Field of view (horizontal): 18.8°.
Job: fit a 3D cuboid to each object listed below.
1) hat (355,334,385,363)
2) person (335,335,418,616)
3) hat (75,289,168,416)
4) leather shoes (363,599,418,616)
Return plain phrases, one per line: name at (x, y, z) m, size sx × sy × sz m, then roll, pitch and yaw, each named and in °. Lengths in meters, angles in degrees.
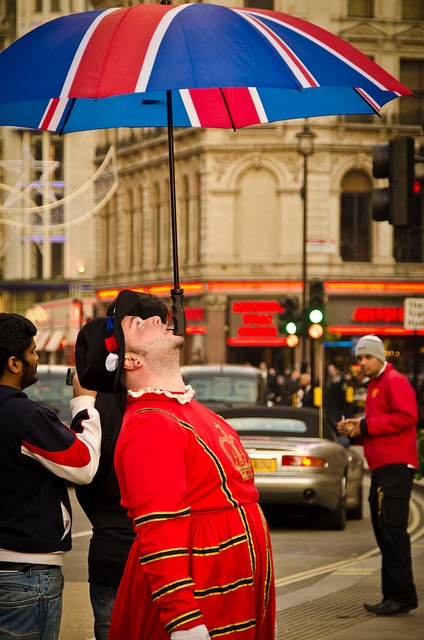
hat at (0.969, 0.162, 7.763) m, size 0.144 × 0.170 × 0.173 m, roll -3°, pitch -24°, yaw 18°
person at (1.197, 1.197, 9.480) m, size 0.669 × 2.274 × 0.805 m, roll 8°, pitch -38°, yaw -1°
hat at (-0.293, 0.082, 4.161) m, size 0.139 × 0.415 × 0.311 m, roll -3°, pitch 12°, yaw -9°
leather shoes at (0.990, 1.616, 7.063) m, size 0.269 × 0.130 × 0.103 m, roll 4°, pitch -10°, yaw 0°
